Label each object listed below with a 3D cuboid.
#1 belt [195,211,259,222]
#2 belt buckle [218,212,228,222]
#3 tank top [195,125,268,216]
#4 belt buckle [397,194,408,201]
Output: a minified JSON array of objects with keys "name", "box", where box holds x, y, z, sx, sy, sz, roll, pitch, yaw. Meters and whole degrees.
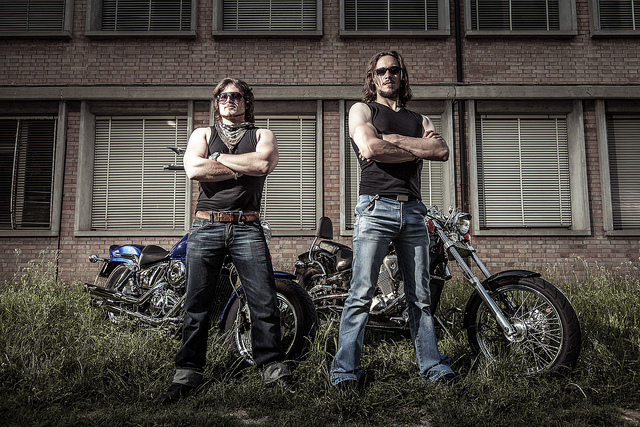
[{"name":"belt","box":[-1.291,0.032,9.228,0.838,0.151,0.204,0,-2,-13]},{"name":"belt buckle","box":[-1.340,0.038,9.157,0.122,0.137,0.030,1,-1,-1]},{"name":"tank top","box":[-1.275,-0.570,9.582,0.961,1.476,0.766,6,-14,-7]},{"name":"belt buckle","box":[1.115,-0.225,9.155,0.134,0.076,0.032,2,-6,-5]}]
